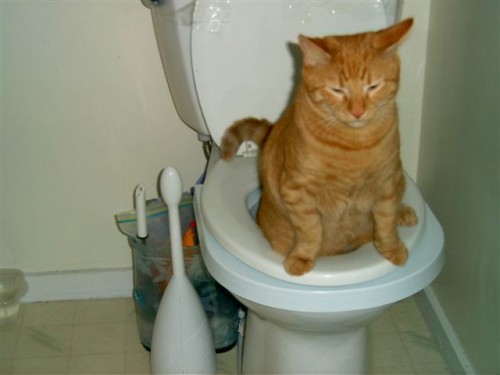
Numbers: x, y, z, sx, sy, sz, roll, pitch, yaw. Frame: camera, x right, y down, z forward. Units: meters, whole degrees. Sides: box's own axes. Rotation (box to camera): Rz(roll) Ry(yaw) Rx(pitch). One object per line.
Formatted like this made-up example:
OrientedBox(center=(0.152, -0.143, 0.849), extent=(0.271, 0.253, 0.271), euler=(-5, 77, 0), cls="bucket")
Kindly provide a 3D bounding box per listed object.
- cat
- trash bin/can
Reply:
OrientedBox(center=(0.141, -0.073, 1.056), extent=(0.494, 0.550, 0.393), euler=(7, 33, 22), cls="cat")
OrientedBox(center=(-0.203, 0.321, 1.632), extent=(0.342, 0.384, 0.367), euler=(-2, 19, 0), cls="trash bin/can")
